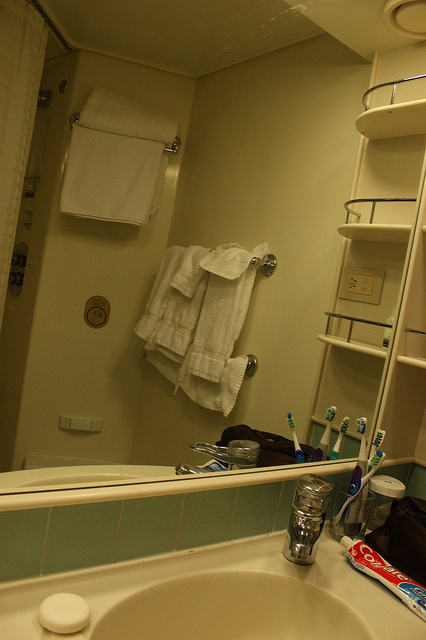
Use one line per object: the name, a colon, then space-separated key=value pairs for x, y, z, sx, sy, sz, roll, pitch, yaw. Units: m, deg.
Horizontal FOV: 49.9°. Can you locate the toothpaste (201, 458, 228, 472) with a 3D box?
toothpaste: x=0.004 y=0.290 z=0.906 sx=0.028 sy=0.009 sz=0.029 roll=13 pitch=9 yaw=-17

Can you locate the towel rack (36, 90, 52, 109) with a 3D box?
towel rack: x=-0.246 y=-0.321 z=0.666 sx=0.006 sy=0.027 sz=0.019 roll=12 pitch=1 yaw=35

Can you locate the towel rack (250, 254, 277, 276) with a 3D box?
towel rack: x=0.109 y=-0.120 z=1.007 sx=0.035 sy=0.039 sz=0.064 roll=9 pitch=2 yaw=34

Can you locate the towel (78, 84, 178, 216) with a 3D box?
towel: x=-0.145 y=-0.269 z=0.735 sx=0.167 sy=0.174 sz=0.054 roll=18 pitch=-6 yaw=-33

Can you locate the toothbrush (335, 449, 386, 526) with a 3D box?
toothbrush: x=0.334 y=0.386 z=1.039 sx=0.032 sy=0.225 sz=0.030 roll=30 pitch=6 yaw=-41

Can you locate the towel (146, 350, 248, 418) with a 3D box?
towel: x=-0.034 y=0.095 z=0.978 sx=0.168 sy=0.133 sz=0.232 roll=-4 pitch=11 yaw=-41

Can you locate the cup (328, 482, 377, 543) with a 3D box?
cup: x=0.307 y=0.434 z=1.044 sx=0.088 sy=0.139 sz=0.081 roll=13 pitch=-13 yaw=3
